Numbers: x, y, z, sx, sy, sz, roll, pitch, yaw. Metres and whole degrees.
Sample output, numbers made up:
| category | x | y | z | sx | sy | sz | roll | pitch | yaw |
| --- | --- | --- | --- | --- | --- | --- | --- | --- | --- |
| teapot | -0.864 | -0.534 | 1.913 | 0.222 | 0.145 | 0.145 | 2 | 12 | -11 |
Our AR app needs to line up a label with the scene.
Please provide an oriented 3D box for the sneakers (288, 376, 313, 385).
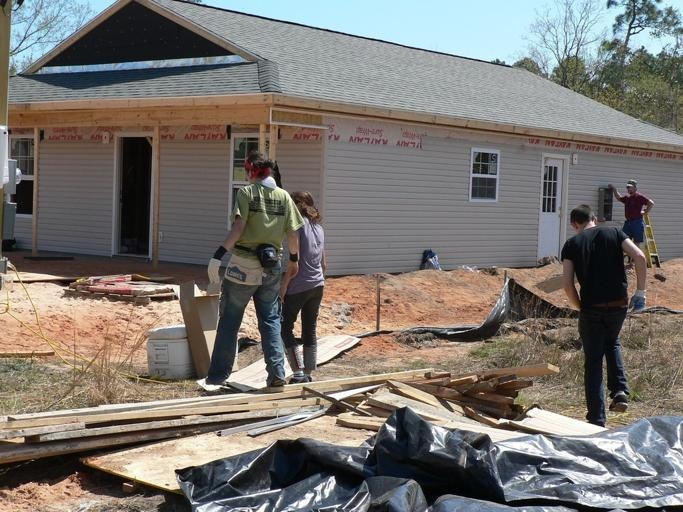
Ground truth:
| category | x | y | z | sx | sy | sz | roll | pitch | yaw |
| --- | --- | --- | --- | --- | --- | --- | --- | --- | --- |
| sneakers | -0.442 | 1.341 | 7.078 | 0.312 | 0.101 | 0.098 | 1 | 1 | 3 |

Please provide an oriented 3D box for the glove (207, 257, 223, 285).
| category | x | y | z | sx | sy | sz | roll | pitch | yaw |
| --- | --- | --- | --- | --- | --- | --- | --- | --- | --- |
| glove | -1.295 | 0.139 | 6.588 | 0.110 | 0.285 | 0.418 | 1 | 4 | -13 |

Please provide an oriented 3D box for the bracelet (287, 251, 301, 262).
| category | x | y | z | sx | sy | sz | roll | pitch | yaw |
| --- | --- | --- | --- | --- | --- | --- | --- | --- | --- |
| bracelet | -0.503 | 0.004 | 6.893 | 0.111 | 0.076 | 0.099 | -4 | 7 | -20 |

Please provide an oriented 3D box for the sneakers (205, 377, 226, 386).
| category | x | y | z | sx | sy | sz | roll | pitch | yaw |
| --- | --- | --- | --- | --- | --- | --- | --- | --- | --- |
| sneakers | -1.288 | 1.284 | 6.723 | 0.243 | 0.089 | 0.070 | 3 | 40 | -2 |

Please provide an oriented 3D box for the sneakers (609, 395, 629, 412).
| category | x | y | z | sx | sy | sz | roll | pitch | yaw |
| --- | --- | --- | --- | --- | --- | --- | --- | --- | --- |
| sneakers | 2.775 | 1.472 | 6.486 | 0.145 | 0.101 | 0.265 | -3 | -16 | 11 |

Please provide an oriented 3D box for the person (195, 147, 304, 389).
| category | x | y | z | sx | sy | sz | roll | pitch | yaw |
| --- | --- | --- | --- | --- | --- | --- | --- | --- | --- |
| person | -0.839 | 0.069 | 6.542 | 0.969 | 2.269 | 0.702 | 0 | 4 | -18 |

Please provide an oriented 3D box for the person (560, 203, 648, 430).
| category | x | y | z | sx | sy | sz | roll | pitch | yaw |
| --- | --- | --- | --- | --- | --- | --- | --- | --- | --- |
| person | 2.601 | 0.556 | 6.432 | 0.906 | 2.111 | 0.602 | 2 | 4 | 4 |
